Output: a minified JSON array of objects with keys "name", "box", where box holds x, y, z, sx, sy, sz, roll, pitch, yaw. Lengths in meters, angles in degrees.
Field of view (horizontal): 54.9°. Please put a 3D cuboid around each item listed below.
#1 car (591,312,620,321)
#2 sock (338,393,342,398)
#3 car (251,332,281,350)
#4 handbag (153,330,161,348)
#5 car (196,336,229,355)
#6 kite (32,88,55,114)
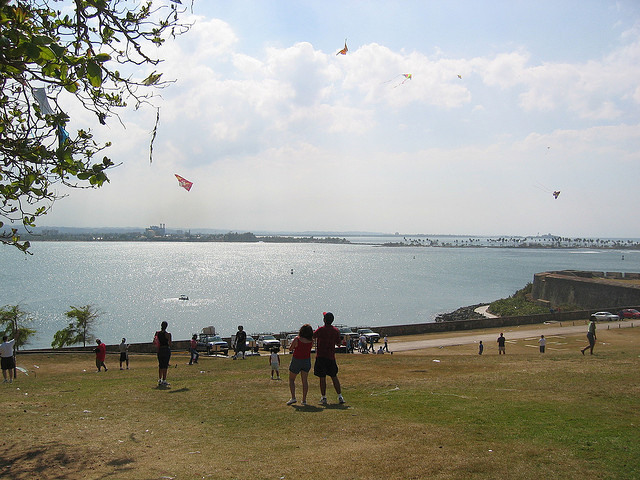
[{"name":"car","box":[23.913,6.398,51.464,1.782,0.651,2.171,-3,-7,26]},{"name":"sock","box":[0.492,3.946,15.577,0.072,0.114,0.073,1,-15,5]},{"name":"car","box":[-3.550,6.717,41.019,1.083,1.004,2.450,1,-7,-29]},{"name":"handbag","box":[-4.730,2.906,17.894,0.212,0.459,0.448,0,-6,-5]},{"name":"car","box":[-6.418,6.248,36.905,1.214,0.950,2.008,5,-13,-40]},{"name":"kite","box":[-6.151,-3.145,13.650,0.385,0.533,1.119,2,-7,-24]}]
